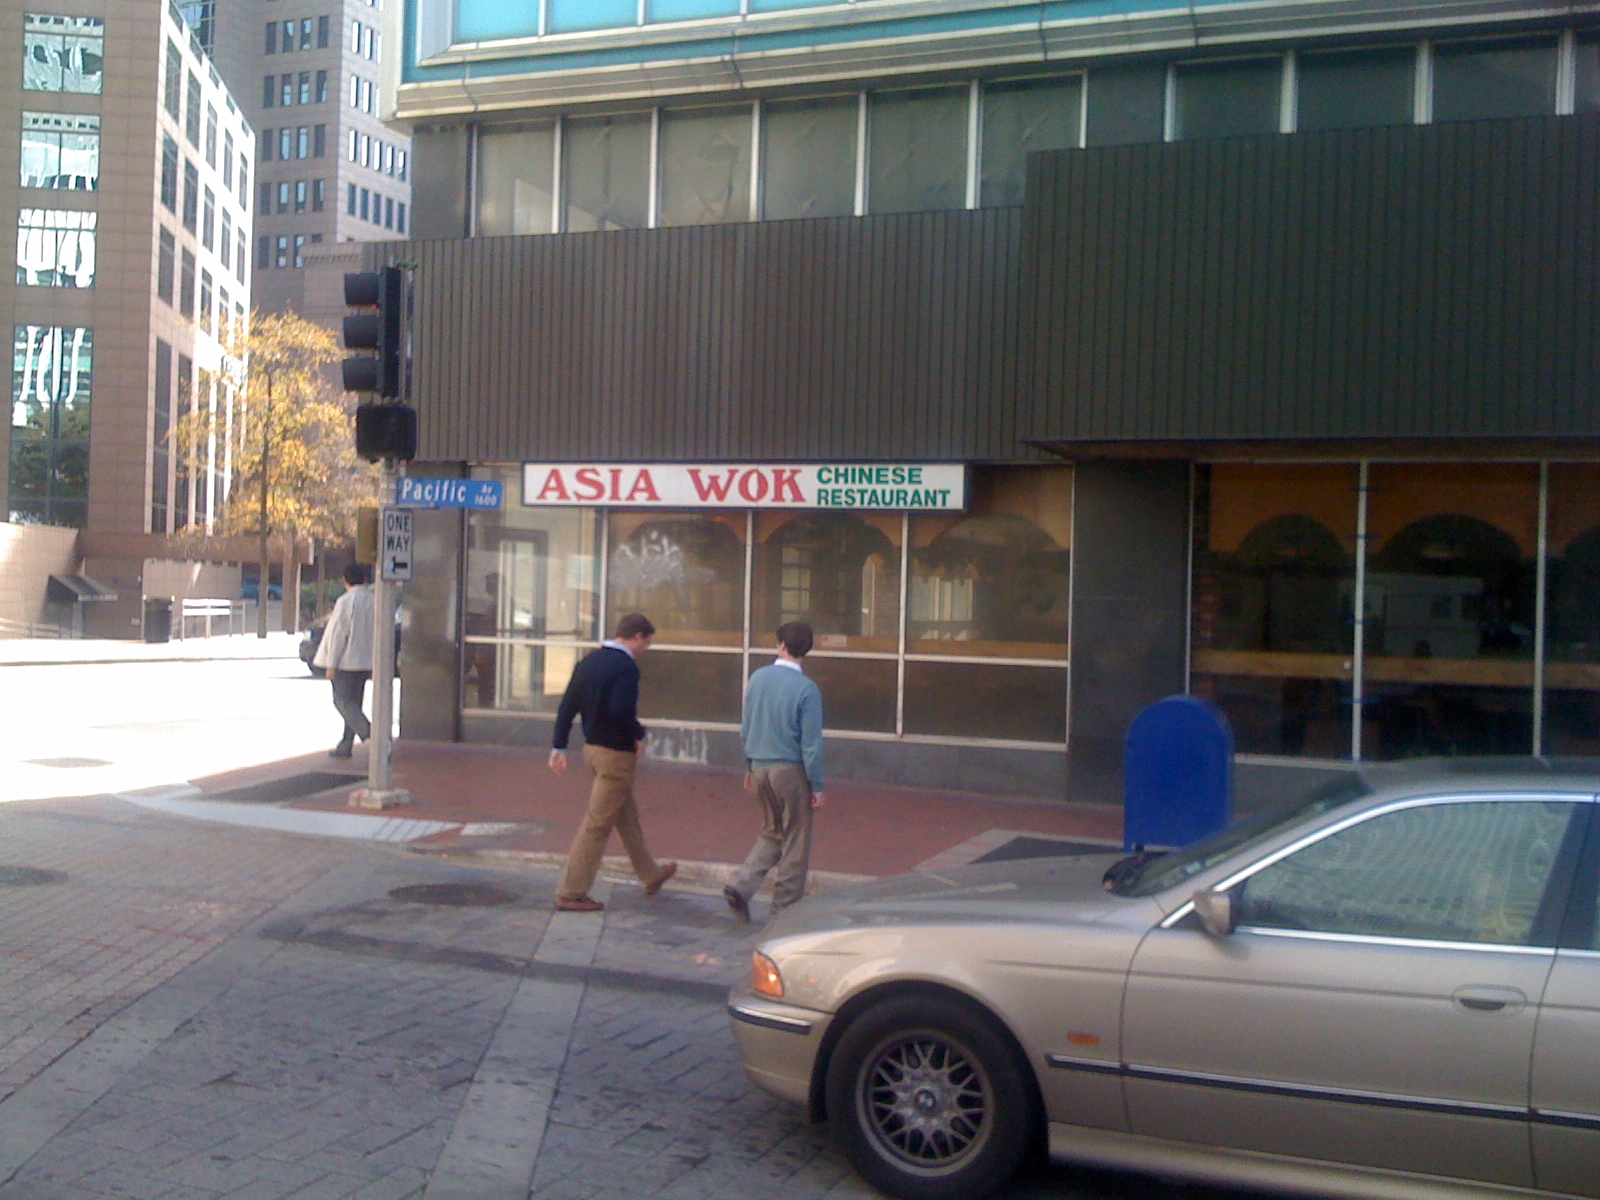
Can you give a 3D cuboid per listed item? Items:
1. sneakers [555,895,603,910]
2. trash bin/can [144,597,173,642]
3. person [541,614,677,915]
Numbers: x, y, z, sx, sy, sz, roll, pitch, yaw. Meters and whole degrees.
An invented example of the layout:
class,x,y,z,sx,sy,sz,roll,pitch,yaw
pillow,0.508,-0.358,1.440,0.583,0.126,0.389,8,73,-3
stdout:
class,x,y,z,sx,sy,sz,roll,pitch,yaw
sneakers,-1.522,2.102,10.461,0.289,0.136,0.114,0,1,-12
trash bin/can,-20.018,0.605,46.940,0.690,1.320,0.788,0,2,-20
person,-1.363,1.125,10.921,0.846,2.089,1.495,0,2,-6
